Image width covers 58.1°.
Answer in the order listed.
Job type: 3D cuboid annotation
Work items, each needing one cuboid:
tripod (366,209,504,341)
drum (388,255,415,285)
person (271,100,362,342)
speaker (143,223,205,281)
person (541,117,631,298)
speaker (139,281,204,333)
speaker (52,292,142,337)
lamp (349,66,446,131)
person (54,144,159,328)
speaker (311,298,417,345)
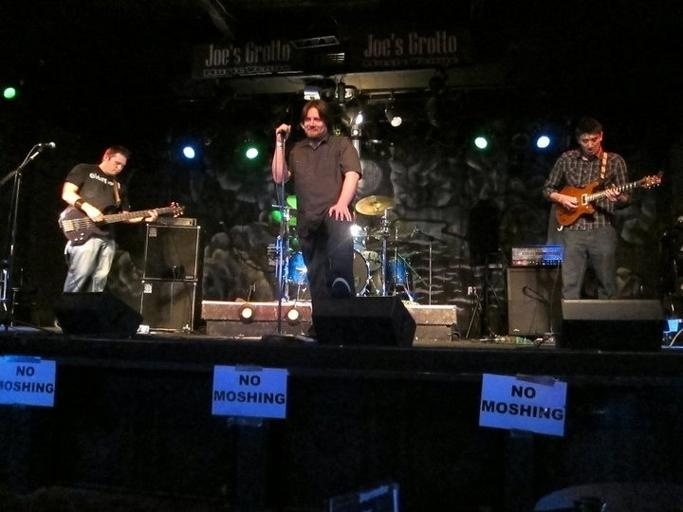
[{"bbox_3d":[1.025,0.203,7.490,1.561,1.156,1.502,2,-4,-28],"label":"tripod"},{"bbox_3d":[0.640,0.142,6.896,0.332,0.338,0.322,-5,-9,30],"label":"drum"},{"bbox_3d":[-0.107,-0.394,4.104,0.494,1.286,0.927,-5,11,-21],"label":"person"},{"bbox_3d":[-1.871,-0.050,6.792,0.639,0.748,0.254,1,-7,-3],"label":"speaker"},{"bbox_3d":[2.048,-0.405,5.138,0.639,1.472,0.810,1,11,11],"label":"person"},{"bbox_3d":[-1.808,0.412,6.921,0.817,0.812,0.473,1,0,1],"label":"speaker"},{"bbox_3d":[-1.439,0.263,3.541,0.331,0.233,0.338,1,0,20],"label":"speaker"},{"bbox_3d":[0.537,-1.636,7.027,0.927,0.453,0.577,0,4,4],"label":"lamp"},{"bbox_3d":[-2.260,-0.134,5.787,0.805,1.994,0.514,13,-18,-33],"label":"person"},{"bbox_3d":[0.102,0.338,3.136,0.504,0.277,0.199,-2,11,-2],"label":"speaker"}]
